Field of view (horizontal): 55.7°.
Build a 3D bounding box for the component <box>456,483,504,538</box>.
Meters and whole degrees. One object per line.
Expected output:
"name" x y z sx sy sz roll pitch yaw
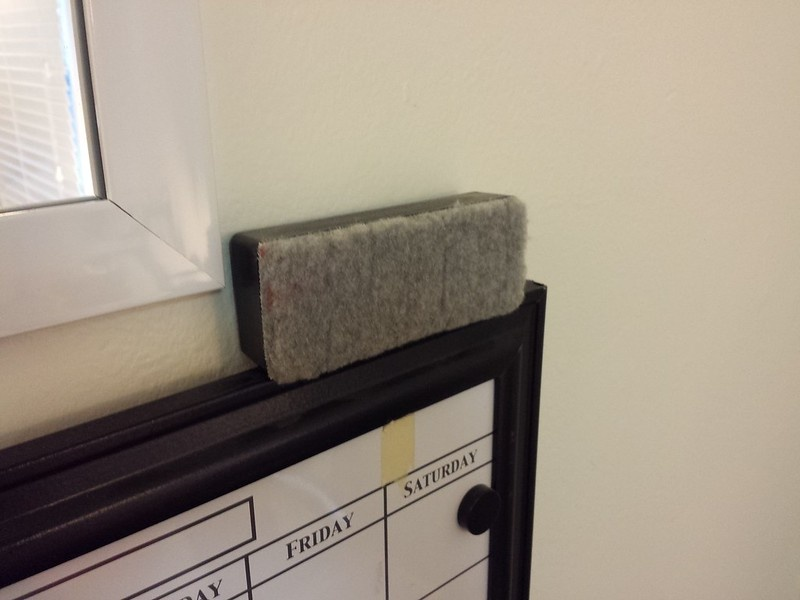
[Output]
"component" 0.070 0.188 0.683 0.039 0.045 0.022 -1 5 -44
